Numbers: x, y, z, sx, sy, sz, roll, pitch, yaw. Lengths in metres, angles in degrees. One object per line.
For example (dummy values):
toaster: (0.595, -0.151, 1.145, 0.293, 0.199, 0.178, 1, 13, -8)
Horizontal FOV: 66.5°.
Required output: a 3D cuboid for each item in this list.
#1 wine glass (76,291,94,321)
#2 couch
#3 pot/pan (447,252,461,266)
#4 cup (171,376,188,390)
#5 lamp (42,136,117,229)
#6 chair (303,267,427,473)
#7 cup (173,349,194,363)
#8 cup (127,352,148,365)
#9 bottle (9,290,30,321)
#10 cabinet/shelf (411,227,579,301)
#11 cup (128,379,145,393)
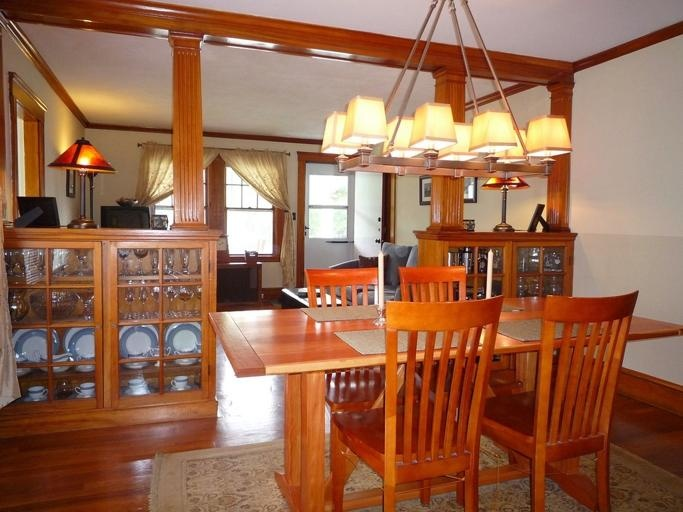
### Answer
wine glass: (-1.828, 0.354, 3.730, 0.101, 0.210, 0.044, -3, 11, -16)
couch: (0.424, 0.377, 7.066, 0.856, 1.022, 1.501, -11, 11, -18)
pot/pan: (0.979, 0.015, 4.515, 0.147, 0.113, 0.036, -3, 11, -19)
cup: (-1.224, 0.950, 3.936, 0.102, 0.069, 0.101, -1, 8, 0)
lamp: (-2.047, -0.559, 4.141, 0.479, 0.686, 0.479, 0, 1, -5)
chair: (0.064, 0.530, 3.109, 0.430, 0.780, 0.532, -6, 31, 3)
cup: (-1.192, 0.743, 3.919, 0.113, 0.084, 0.111, 0, 8, 0)
cup: (-1.496, 0.746, 3.830, 0.088, 0.071, 0.094, 3, 4, 0)
bottle: (-2.254, 0.341, 3.647, 0.113, 0.211, 0.044, -6, 12, -28)
cabinet/shelf: (1.472, 0.176, 4.870, 1.367, 0.817, 0.396, -1, 5, -11)
cup: (-1.500, 0.964, 3.854, 0.117, 0.085, 0.090, 3, 2, -9)
